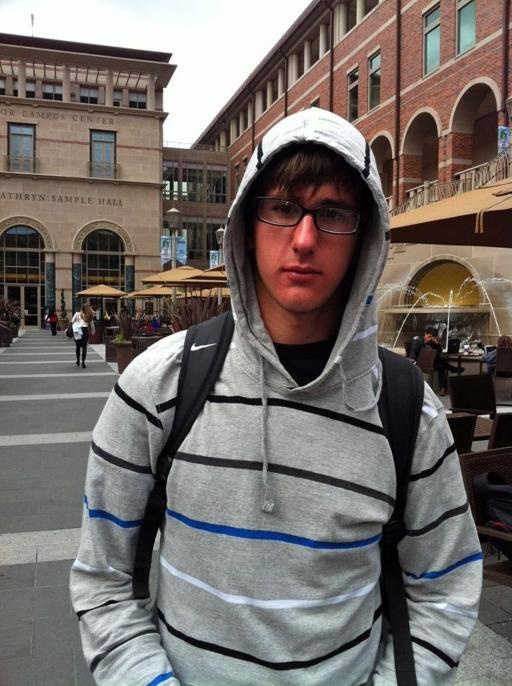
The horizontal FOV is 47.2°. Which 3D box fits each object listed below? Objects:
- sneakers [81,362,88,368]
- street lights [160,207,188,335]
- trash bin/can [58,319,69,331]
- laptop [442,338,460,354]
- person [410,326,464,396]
[{"bbox_3d":[-4.928,0.641,16.733,0.094,0.136,0.125,-3,25,2],"label":"sneakers"},{"bbox_3d":[-2.649,-2.729,18.278,0.586,3.157,0.595,20,30,26],"label":"street lights"},{"bbox_3d":[-13.028,-1.197,39.532,0.632,0.764,1.243,-1,5,-25],"label":"trash bin/can"},{"bbox_3d":[5.600,0.097,16.716,0.462,0.454,0.339,7,-4,-42],"label":"laptop"},{"bbox_3d":[3.794,0.411,12.503,0.637,1.375,0.986,-12,2,9],"label":"person"}]
